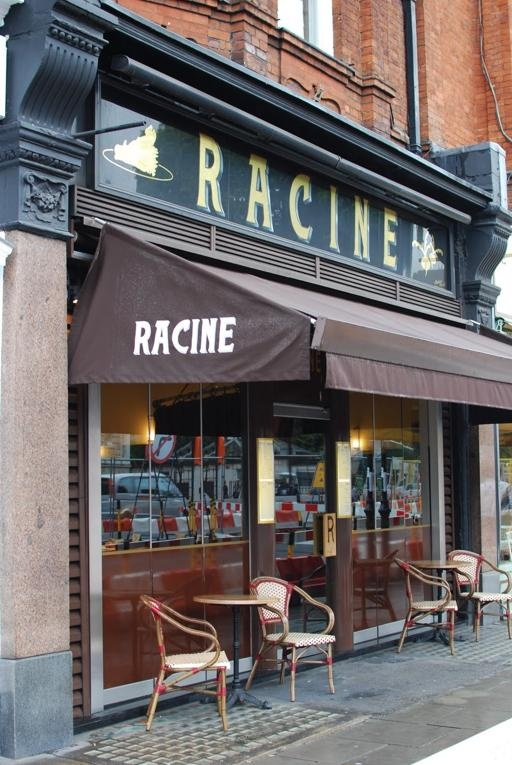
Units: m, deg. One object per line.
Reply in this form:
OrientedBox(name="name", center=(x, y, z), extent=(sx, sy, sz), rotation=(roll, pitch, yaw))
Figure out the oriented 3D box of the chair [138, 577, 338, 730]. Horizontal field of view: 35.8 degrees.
OrientedBox(name="chair", center=(-0.188, 2.068, 6.030), extent=(0.444, 0.560, 1.083), rotation=(-7, -9, 44))
